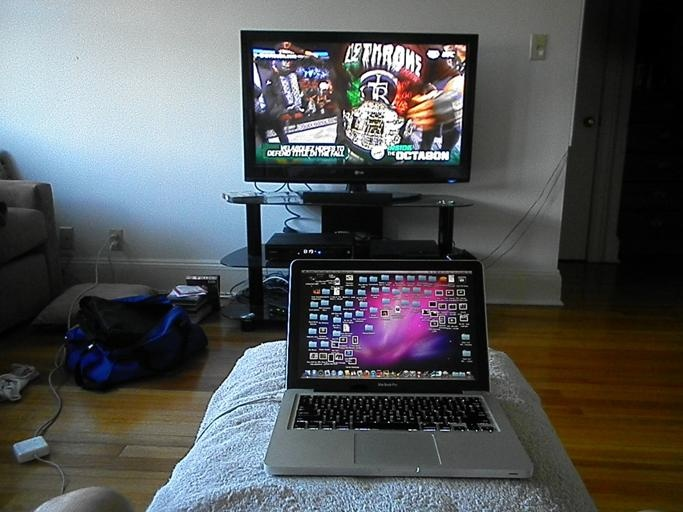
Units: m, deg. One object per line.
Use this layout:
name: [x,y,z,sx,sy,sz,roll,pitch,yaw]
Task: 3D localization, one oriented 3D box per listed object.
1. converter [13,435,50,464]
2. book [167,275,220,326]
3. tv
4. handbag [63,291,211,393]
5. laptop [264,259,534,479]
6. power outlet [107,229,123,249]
converter: [-1.122,0.701,1.967,0.108,0.041,0.101,-15,24,-37]
book: [-0.836,0.244,3.081,0.219,0.194,0.291,0,7,2]
tv: [0.083,-0.784,2.915,1.030,0.650,0.072,0,21,0]
handbag: [-0.964,0.382,2.476,0.485,0.205,0.437,-10,27,-42]
laptop: [0.097,0.142,1.208,0.486,0.324,0.449,1,13,1]
power outlet: [-1.404,-0.114,3.370,0.103,0.152,0.079,1,13,-6]
